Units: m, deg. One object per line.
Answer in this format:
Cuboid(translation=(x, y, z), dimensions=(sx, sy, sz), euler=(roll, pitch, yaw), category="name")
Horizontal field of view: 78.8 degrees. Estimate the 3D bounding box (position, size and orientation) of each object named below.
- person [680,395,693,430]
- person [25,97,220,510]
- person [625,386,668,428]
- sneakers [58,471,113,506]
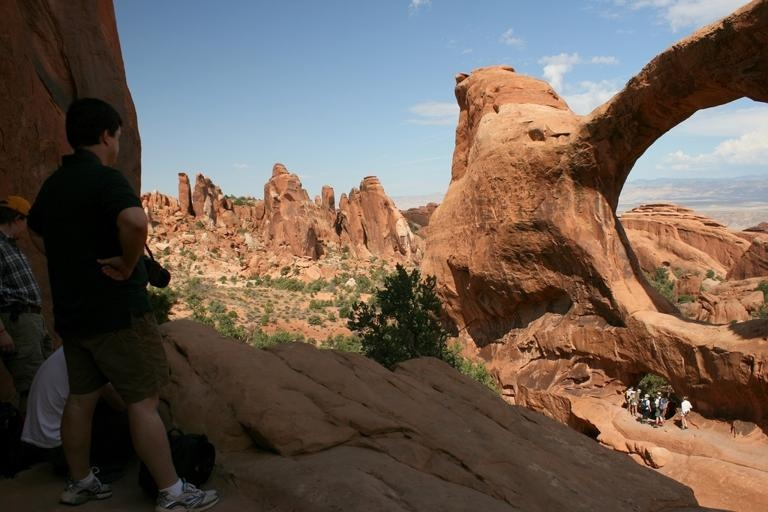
Cuboid(translation=(7.861, 4.017, 12.095), dimensions=(0.243, 0.722, 0.550), euler=(-1, 1, 34), category="person")
Cuboid(translation=(-2.732, 0.701, 4.684), dimensions=(1.486, 4.127, 0.465), euler=(-1, 1, 10), category="person")
Cuboid(translation=(7.248, 4.030, 12.835), dimensions=(0.733, 0.853, 1.126), euler=(-2, 1, -26), category="person")
Cuboid(translation=(-2.950, 2.290, 4.678), dimensions=(0.229, 0.271, 0.449), euler=(-3, -4, 35), category="sneakers")
